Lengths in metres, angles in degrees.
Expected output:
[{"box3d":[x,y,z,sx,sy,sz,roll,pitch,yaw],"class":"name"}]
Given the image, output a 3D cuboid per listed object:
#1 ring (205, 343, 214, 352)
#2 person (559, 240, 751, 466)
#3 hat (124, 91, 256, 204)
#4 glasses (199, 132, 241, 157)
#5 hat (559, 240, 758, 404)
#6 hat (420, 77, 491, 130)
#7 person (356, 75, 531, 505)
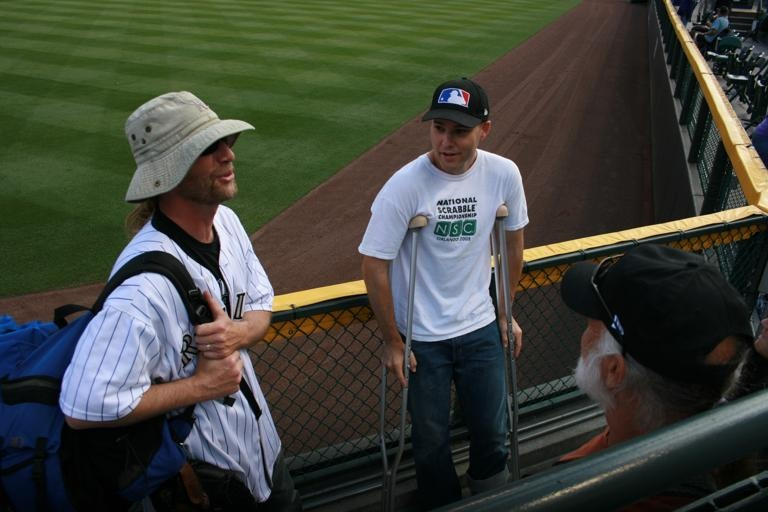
[{"box3d":[-0.786,0.411,2.919,0.024,0.029,0.010,10,-9,0],"class":"ring"},{"box3d":[1.006,0.246,2.472,0.736,0.472,0.747,-7,11,0],"class":"person"},{"box3d":[-0.930,-0.484,3.064,0.552,0.285,0.452,-32,8,-9],"class":"hat"},{"box3d":[-0.776,-0.516,3.045,0.137,0.037,0.135,-26,11,40],"class":"glasses"},{"box3d":[1.075,0.239,2.655,0.710,0.534,0.311,11,24,37],"class":"hat"},{"box3d":[0.392,-0.846,3.554,0.313,0.221,0.422,16,23,20],"class":"hat"},{"box3d":[0.422,0.208,3.577,0.929,2.238,0.680,-16,22,-30],"class":"person"}]
